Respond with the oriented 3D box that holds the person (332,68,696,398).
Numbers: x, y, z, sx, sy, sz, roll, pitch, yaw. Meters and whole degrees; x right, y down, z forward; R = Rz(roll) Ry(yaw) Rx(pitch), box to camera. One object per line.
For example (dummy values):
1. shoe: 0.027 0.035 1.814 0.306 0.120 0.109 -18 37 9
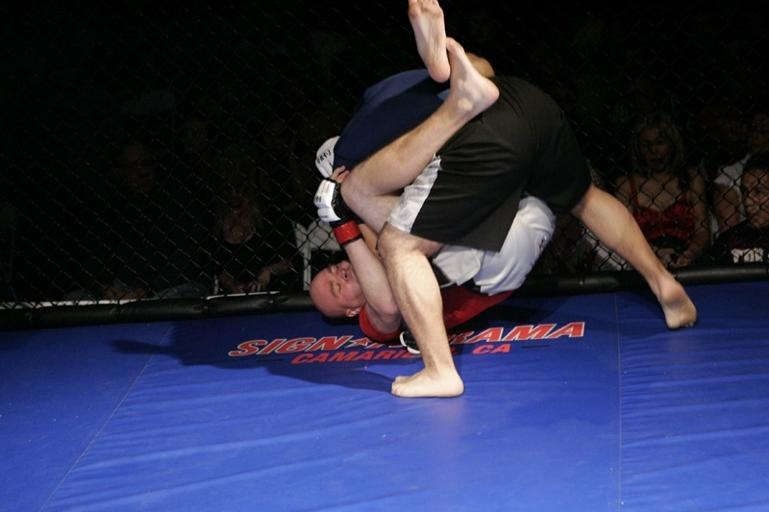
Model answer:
1. person: 0.363 -0.020 2.880 1.596 1.213 1.122 13 49 37
